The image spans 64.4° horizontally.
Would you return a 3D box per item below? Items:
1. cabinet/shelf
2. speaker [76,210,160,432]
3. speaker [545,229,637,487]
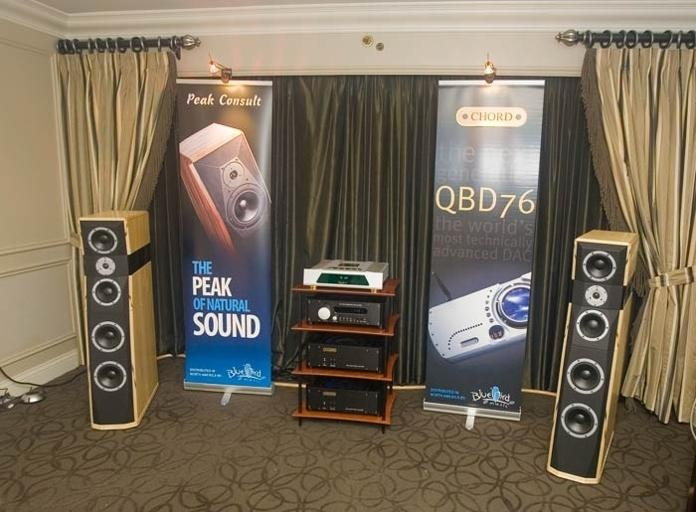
[{"bbox_3d":[0.032,0.746,4.895,0.972,1.406,1.102,2,13,9],"label":"cabinet/shelf"},{"bbox_3d":[-1.912,0.496,4.532,0.501,1.675,0.598,-3,14,-10],"label":"speaker"},{"bbox_3d":[1.771,0.721,4.040,0.384,1.727,0.669,12,18,42],"label":"speaker"}]
